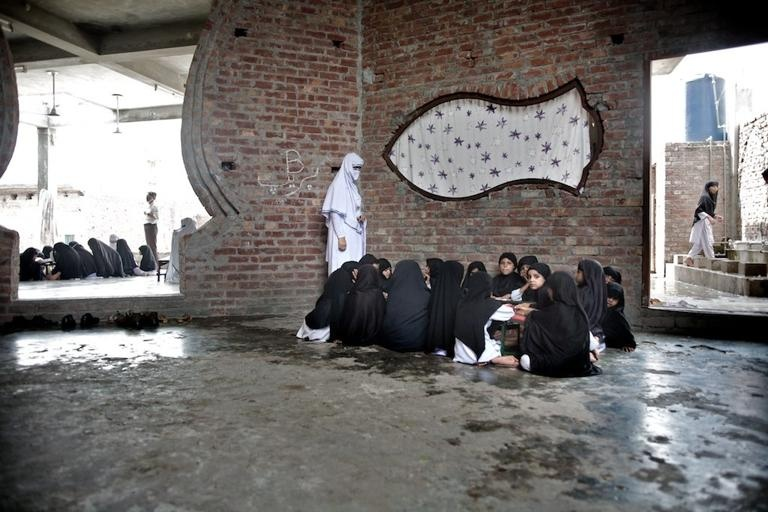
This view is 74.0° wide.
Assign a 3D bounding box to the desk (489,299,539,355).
[{"bbox_3d":[1.377,0.931,5.744,0.482,0.427,0.418,6,-15,-27],"label":"desk"}]

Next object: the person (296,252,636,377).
[{"bbox_3d":[0.492,0.566,5.795,3.146,0.994,0.805,5,14,21],"label":"person"}]

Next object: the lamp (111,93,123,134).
[{"bbox_3d":[-7.340,-3.847,13.924,0.256,0.948,2.649,-7,14,-27],"label":"lamp"}]

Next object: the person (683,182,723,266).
[{"bbox_3d":[6.230,-0.608,9.824,0.487,1.624,0.785,8,16,33],"label":"person"}]
